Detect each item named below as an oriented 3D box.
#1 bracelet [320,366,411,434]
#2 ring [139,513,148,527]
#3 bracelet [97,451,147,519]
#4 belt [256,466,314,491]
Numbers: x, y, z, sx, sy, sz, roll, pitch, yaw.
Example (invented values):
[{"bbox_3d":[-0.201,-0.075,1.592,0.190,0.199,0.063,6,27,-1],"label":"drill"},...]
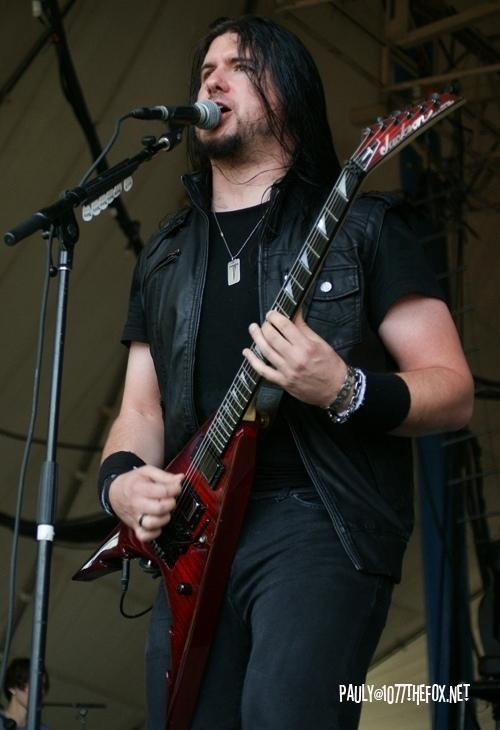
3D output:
[{"bbox_3d":[0.231,0.071,1.482,0.156,0.098,0.038,15,4,-26],"label":"bracelet"},{"bbox_3d":[-0.219,0.312,1.609,0.008,0.023,0.024,7,36,-9],"label":"ring"},{"bbox_3d":[-0.283,0.269,1.768,0.123,0.141,0.074,8,-14,-4],"label":"bracelet"},{"bbox_3d":[0.064,0.230,1.605,0.146,0.041,0.011,-2,-14,33],"label":"belt"}]
